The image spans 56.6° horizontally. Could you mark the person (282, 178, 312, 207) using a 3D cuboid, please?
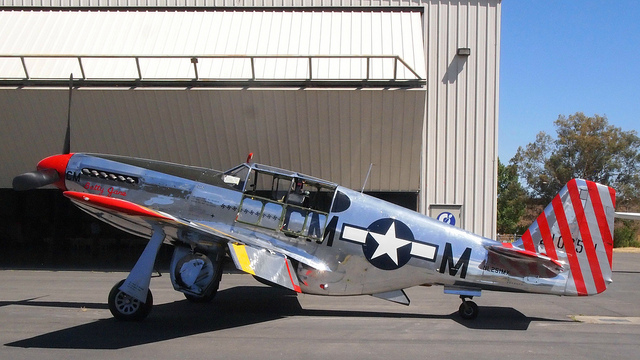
[{"bbox_3d":[-0.895,0.481,23.648,1.231,1.239,0.797,11,9,6],"label":"person"}]
